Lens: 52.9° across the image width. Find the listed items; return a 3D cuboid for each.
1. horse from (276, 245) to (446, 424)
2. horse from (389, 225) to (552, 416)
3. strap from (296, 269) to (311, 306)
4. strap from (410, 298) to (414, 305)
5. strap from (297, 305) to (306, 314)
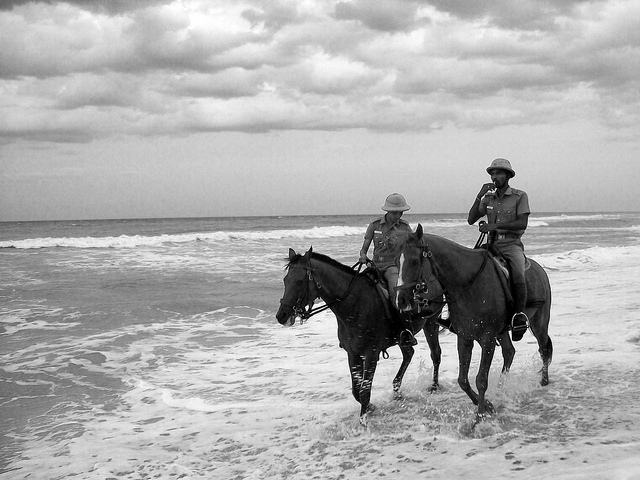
[{"bbox_3d":[0.956,1.576,10.917,1.288,2.887,4.194,-10,-7,43],"label":"horse"},{"bbox_3d":[2.734,1.308,10.541,4.030,2.960,1.231,-1,-4,-41],"label":"horse"},{"bbox_3d":[-0.284,0.743,10.028,0.068,0.591,0.086,0,-26,44],"label":"strap"},{"bbox_3d":[1.323,0.888,9.333,0.068,0.131,0.071,0,5,5],"label":"strap"},{"bbox_3d":[-0.293,1.093,10.017,0.071,0.109,0.118,1,8,8],"label":"strap"}]
